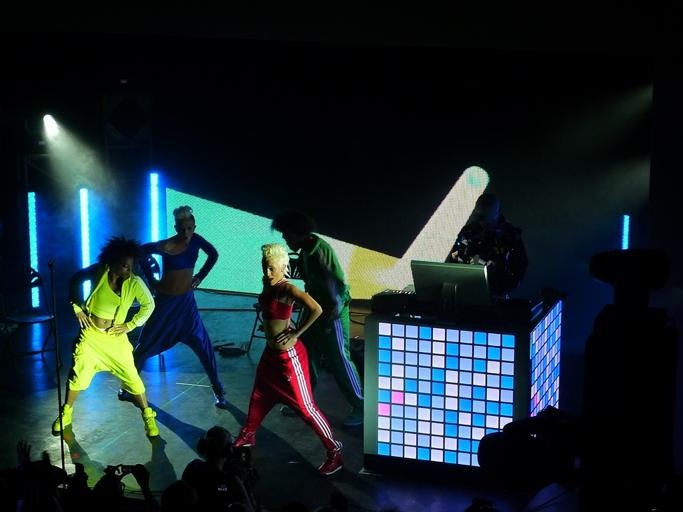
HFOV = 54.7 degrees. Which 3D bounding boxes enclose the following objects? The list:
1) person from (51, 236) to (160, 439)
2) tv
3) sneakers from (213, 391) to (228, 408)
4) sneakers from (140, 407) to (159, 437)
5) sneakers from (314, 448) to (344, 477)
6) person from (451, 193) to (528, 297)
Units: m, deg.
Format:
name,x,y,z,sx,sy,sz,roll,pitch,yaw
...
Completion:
name,x,y,z,sx,sy,sz,roll,pitch,yaw
person,-2.130,0.747,6.143,0.877,1.814,0.453,0,-4,15
tv,0.896,0.290,5.433,0.636,0.479,0.396,2,1,23
sneakers,-1.244,1.474,6.873,0.122,0.175,0.194,2,-4,-12
sneakers,-1.760,1.510,6.148,0.115,0.156,0.318,-8,26,-27
sneakers,-0.077,1.734,5.597,0.262,0.161,0.131,6,-7,-42
person,1.458,-0.019,6.735,0.826,1.217,0.673,4,19,19
